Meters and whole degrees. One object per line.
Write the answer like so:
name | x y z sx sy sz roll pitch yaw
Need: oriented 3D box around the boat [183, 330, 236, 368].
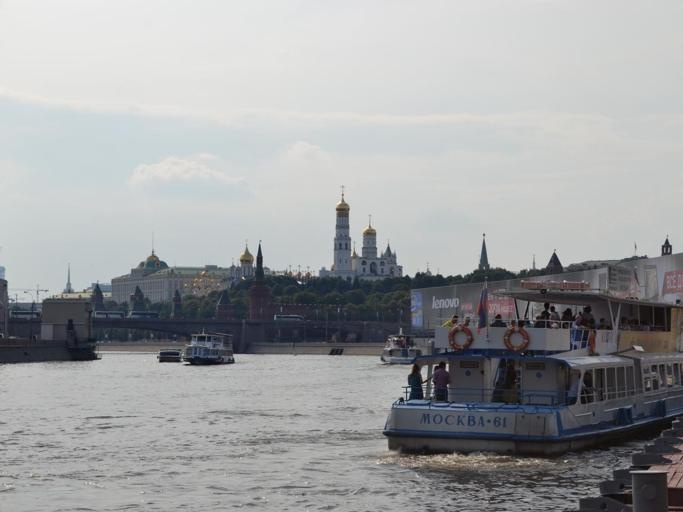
boat | -10.812 7.711 134.675 1.926 2.359 6.115 -1 -6 15

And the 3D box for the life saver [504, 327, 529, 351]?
life saver | 5.910 2.822 56.616 0.877 0.765 0.110 -1 -4 6

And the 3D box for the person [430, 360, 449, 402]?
person | 3.391 4.300 56.982 0.551 1.380 0.851 0 -4 3

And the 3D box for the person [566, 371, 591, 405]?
person | 8.092 4.513 57.119 0.775 1.152 1.405 -2 -4 21

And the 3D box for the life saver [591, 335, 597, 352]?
life saver | 8.785 3.094 58.466 0.185 0.190 0.636 -11 -42 1

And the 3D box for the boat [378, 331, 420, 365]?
boat | 5.061 7.961 137.919 2.256 3.234 7.622 2 -1 -3
